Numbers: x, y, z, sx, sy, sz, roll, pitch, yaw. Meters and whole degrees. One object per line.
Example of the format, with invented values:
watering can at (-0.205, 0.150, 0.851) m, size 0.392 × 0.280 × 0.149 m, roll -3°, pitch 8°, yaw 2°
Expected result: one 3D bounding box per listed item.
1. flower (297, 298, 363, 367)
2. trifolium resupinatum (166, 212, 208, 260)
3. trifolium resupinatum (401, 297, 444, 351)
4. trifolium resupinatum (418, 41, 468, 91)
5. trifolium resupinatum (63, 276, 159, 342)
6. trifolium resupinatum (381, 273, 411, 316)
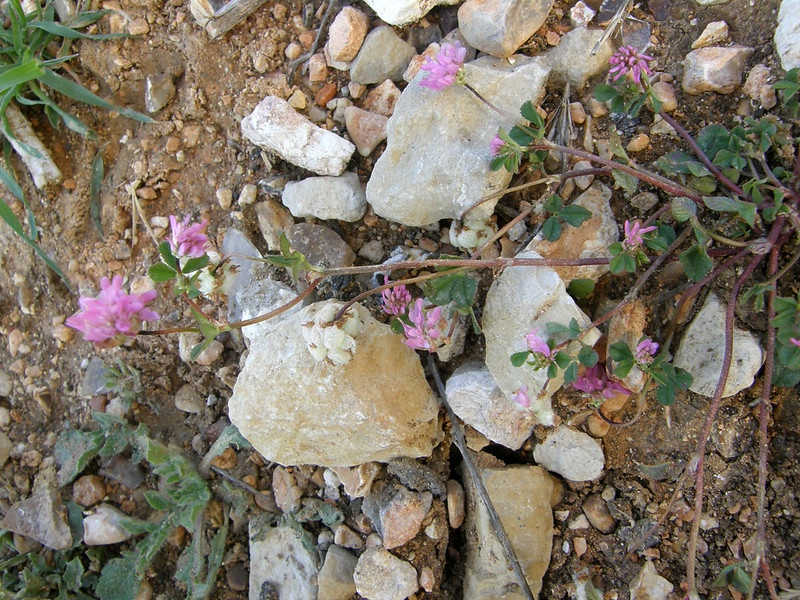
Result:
flower at (-0.269, 0.151, 3.005) m, size 0.220 × 0.214 × 0.236 m, roll -33°, pitch 87°, yaw -2°
trifolium resupinatum at (-0.850, -0.230, 2.928) m, size 0.149 × 0.113 × 0.205 m, roll -8°, pitch 92°, yaw -24°
trifolium resupinatum at (0.102, 0.119, 3.011) m, size 0.172 × 0.094 × 0.218 m, roll 26°, pitch 94°, yaw 12°
trifolium resupinatum at (0.173, -0.956, 3.014) m, size 0.182 × 0.120 × 0.165 m, roll -8°, pitch 86°, yaw -1°
trifolium resupinatum at (-1.066, 0.039, 2.748) m, size 0.263 × 0.128 × 0.301 m, roll 16°, pitch 86°, yaw -15°
trifolium resupinatum at (-0.016, -0.012, 3.164) m, size 0.118 × 0.069 × 0.176 m, roll -12°, pitch 88°, yaw -7°
